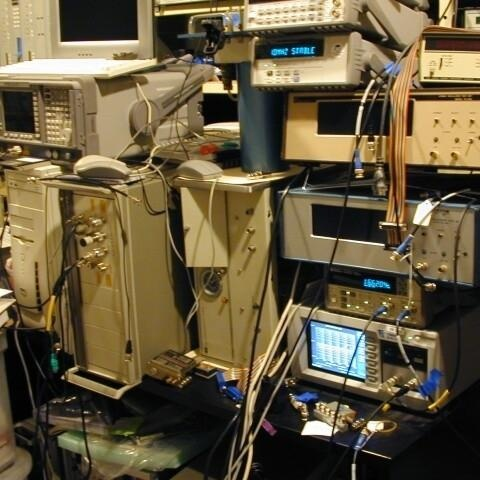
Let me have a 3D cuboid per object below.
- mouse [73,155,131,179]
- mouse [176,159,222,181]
[{"bbox_3d":[-0.354,-0.180,1.254,0.109,0.042,0.066,1,19,-2],"label":"mouse"},{"bbox_3d":[-0.096,-0.187,1.301,0.094,0.033,0.057,7,16,35],"label":"mouse"}]
